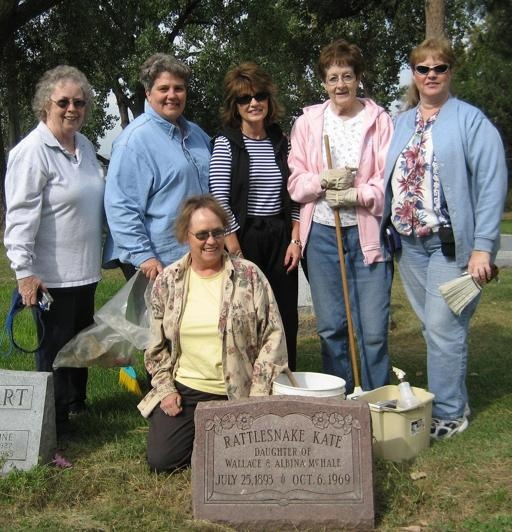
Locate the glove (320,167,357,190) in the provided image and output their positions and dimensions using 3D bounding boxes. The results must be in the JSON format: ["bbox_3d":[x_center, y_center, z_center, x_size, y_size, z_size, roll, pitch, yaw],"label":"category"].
[{"bbox_3d":[0.529,-0.584,4.949,0.184,0.154,0.084,0,-5,10],"label":"glove"}]

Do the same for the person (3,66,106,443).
[{"bbox_3d":[-1.304,-0.315,4.921,0.343,1.356,0.749,-2,4,37],"label":"person"}]

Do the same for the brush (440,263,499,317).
[{"bbox_3d":[1.351,0.139,4.673,0.367,0.244,0.170,-43,-20,11],"label":"brush"}]

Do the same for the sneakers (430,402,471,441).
[{"bbox_3d":[1.298,1.057,4.927,0.322,0.137,0.115,0,-7,-35],"label":"sneakers"}]

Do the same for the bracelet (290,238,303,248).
[{"bbox_3d":[0.286,-0.167,5.234,0.067,0.045,0.069,16,4,38],"label":"bracelet"}]

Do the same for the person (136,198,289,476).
[{"bbox_3d":[-0.257,0.690,4.588,0.992,2.108,0.718,1,11,14],"label":"person"}]

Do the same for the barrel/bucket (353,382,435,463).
[{"bbox_3d":[0.916,0.985,4.574,0.290,0.393,0.541,-1,4,45],"label":"barrel/bucket"}]

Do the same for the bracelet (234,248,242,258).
[{"bbox_3d":[-0.117,-0.087,5.034,0.057,0.065,0.070,-1,-7,0],"label":"bracelet"}]

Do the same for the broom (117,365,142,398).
[{"bbox_3d":[-1.019,0.930,5.947,0.051,0.172,0.329,-29,27,-20],"label":"broom"}]

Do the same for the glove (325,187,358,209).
[{"bbox_3d":[0.573,-0.451,4.970,0.180,0.112,0.073,-4,7,32],"label":"glove"}]

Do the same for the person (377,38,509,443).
[{"bbox_3d":[1.208,-0.159,4.787,0.400,2.535,0.821,-7,5,-41],"label":"person"}]

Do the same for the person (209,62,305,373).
[{"bbox_3d":[-0.067,-0.387,5.417,0.774,2.018,0.698,-2,7,-7],"label":"person"}]

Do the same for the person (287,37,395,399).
[{"bbox_3d":[0.548,-0.317,5.363,0.784,2.334,0.772,-1,6,1],"label":"person"}]

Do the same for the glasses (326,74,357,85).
[{"bbox_3d":[0.576,-1.252,4.997,0.182,0.060,0.059,-4,3,9],"label":"glasses"}]
